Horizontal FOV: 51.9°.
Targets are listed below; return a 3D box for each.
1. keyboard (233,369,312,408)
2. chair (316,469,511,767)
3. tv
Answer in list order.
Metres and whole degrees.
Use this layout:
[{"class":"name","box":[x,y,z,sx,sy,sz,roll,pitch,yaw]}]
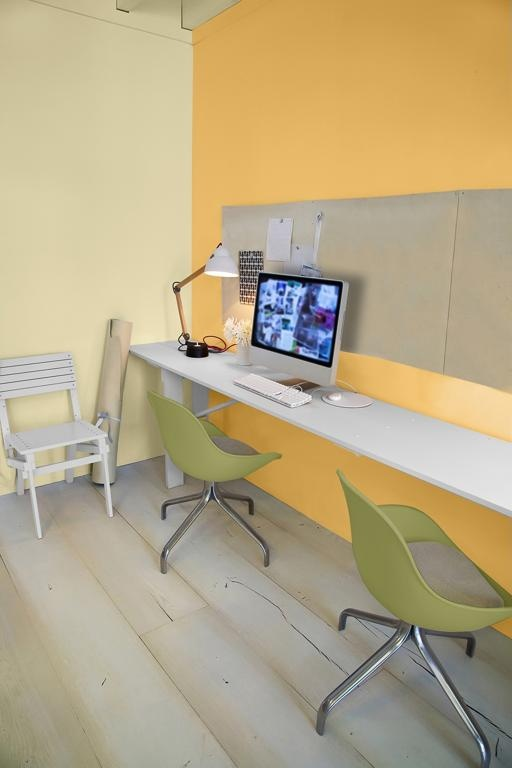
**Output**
[{"class":"keyboard","box":[0.072,0.025,1.984,0.126,0.032,0.227,-14,25,-43]},{"class":"chair","box":[0.462,0.679,1.462,0.478,0.597,0.497,-5,20,-9]},{"class":"tv","box":[0.185,-0.216,2.080,0.151,0.419,0.436,-9,22,-41]}]
